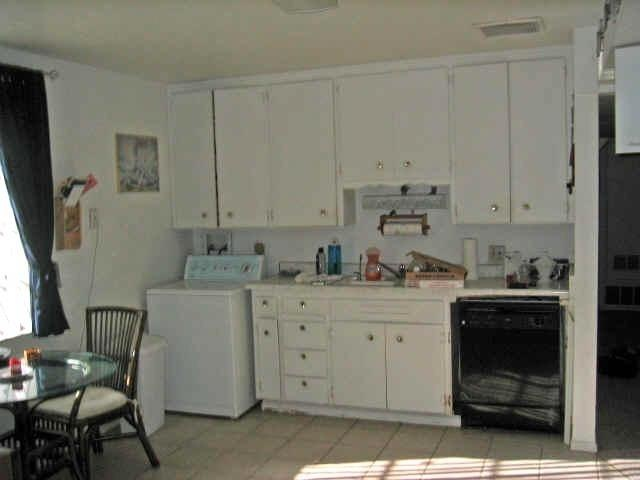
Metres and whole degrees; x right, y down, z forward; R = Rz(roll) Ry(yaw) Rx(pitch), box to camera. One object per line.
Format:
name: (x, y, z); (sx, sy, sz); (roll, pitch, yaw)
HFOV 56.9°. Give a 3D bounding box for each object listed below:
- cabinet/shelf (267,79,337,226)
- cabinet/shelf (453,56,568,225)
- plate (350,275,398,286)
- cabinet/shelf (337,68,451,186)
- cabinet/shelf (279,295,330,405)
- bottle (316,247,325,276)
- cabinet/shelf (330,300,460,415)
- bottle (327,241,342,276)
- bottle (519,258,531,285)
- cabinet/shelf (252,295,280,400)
cabinet/shelf: (-0.146, -0.748, 5.101); (0.587, 1.211, 0.227); (-1, 9, 5)
cabinet/shelf: (1.564, -0.718, 4.953); (0.900, 1.345, 0.664); (1, -10, 12)
plate: (0.442, 0.351, 4.967); (0.410, 0.036, 0.401); (-1, 9, 6)
cabinet/shelf: (0.645, -0.965, 4.875); (0.894, 0.911, 0.310); (0, 5, 18)
cabinet/shelf: (-0.120, 0.910, 4.957); (0.420, 0.869, 0.168); (-1, 9, 5)
bottle: (0.007, 0.184, 5.352); (0.074, 0.233, 0.141); (-2, 9, 0)
cabinet/shelf: (0.649, 0.916, 4.744); (0.873, 0.835, 0.358); (-1, -2, 17)
bottle: (0.135, 0.150, 5.347); (0.134, 0.292, 0.214); (-1, 9, 2)
bottle: (1.608, 0.259, 4.611); (0.098, 0.171, 0.213); (2, 10, 24)
cabinet/shelf: (-0.453, 0.898, 5.046); (0.231, 0.906, 0.156); (-1, 9, 4)
